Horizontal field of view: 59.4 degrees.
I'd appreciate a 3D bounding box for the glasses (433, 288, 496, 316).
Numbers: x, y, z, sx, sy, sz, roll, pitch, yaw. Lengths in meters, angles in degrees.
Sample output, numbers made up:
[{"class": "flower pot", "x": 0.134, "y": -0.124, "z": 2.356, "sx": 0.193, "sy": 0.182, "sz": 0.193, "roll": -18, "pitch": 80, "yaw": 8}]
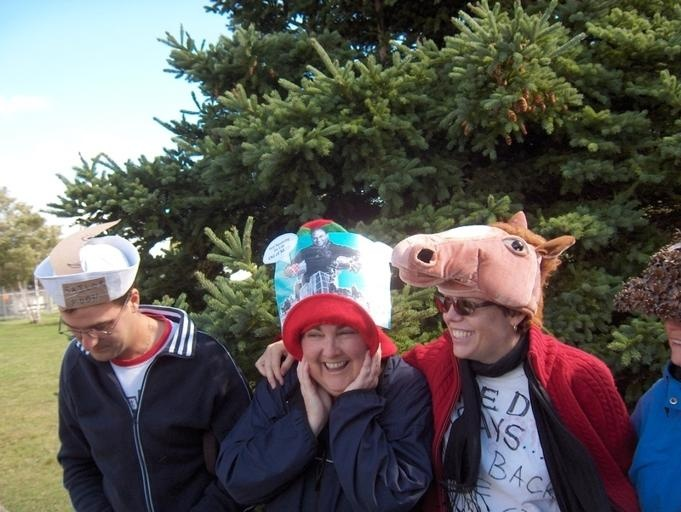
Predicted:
[{"class": "glasses", "x": 0.676, "y": 0.269, "z": 3.356, "sx": 0.336, "sy": 0.125, "sz": 0.119, "roll": -4, "pitch": 3, "yaw": 35}]
